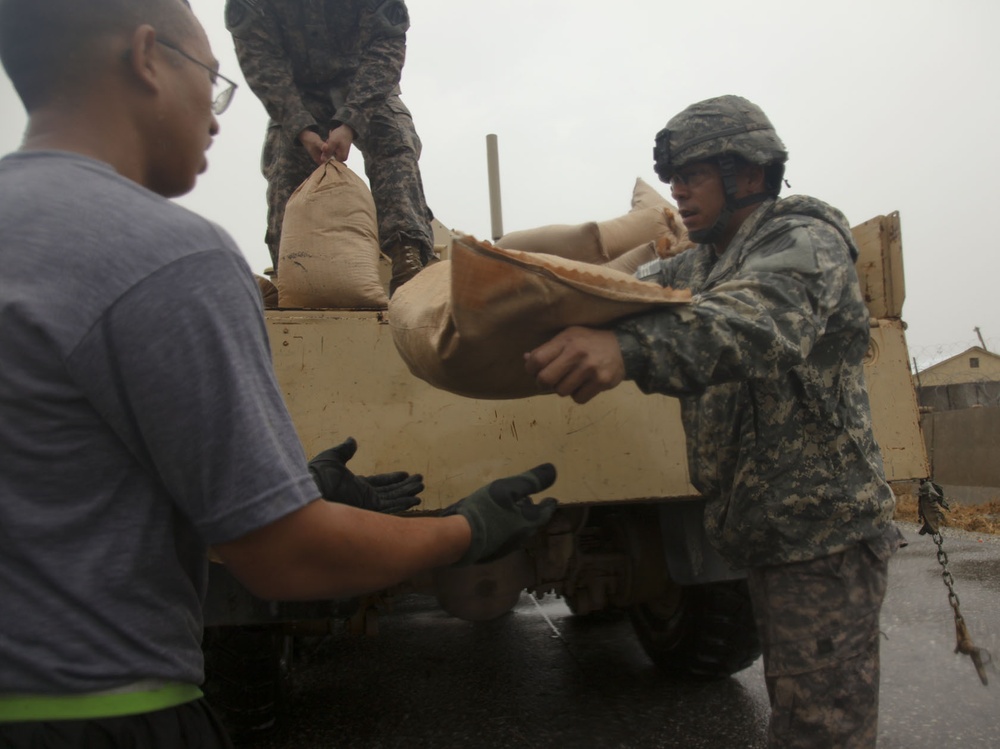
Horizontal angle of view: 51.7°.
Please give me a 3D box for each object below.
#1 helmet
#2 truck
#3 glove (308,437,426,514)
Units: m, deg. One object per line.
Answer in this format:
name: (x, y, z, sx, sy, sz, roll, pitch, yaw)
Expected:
helmet: (0.587, -0.626, 2.750, 0.347, 0.236, 0.329, -8, 2, -7)
truck: (0.103, 0.360, 3.193, 1.509, 1.049, 2.055, 1, -4, -26)
glove: (-0.301, 0.257, 2.284, 0.193, 0.048, 0.198, 11, 18, -21)
